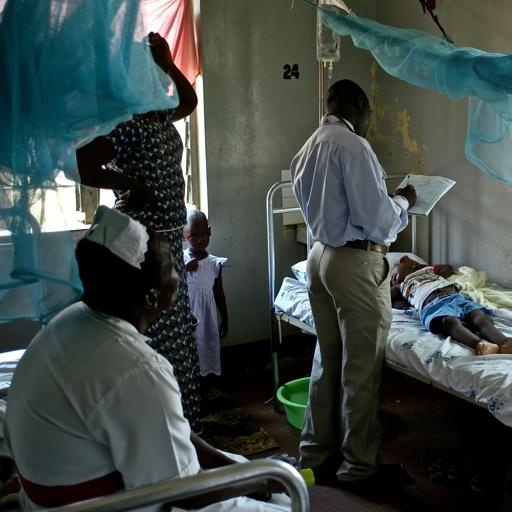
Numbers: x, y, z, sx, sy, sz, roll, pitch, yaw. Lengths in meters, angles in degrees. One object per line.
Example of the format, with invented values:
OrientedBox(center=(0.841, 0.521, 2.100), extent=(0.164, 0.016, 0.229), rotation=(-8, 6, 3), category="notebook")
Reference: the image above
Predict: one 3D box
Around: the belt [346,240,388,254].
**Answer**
OrientedBox(center=(0.439, -0.033, 2.119), extent=(0.189, 0.071, 0.053), rotation=(-7, 8, -27), category="belt")
